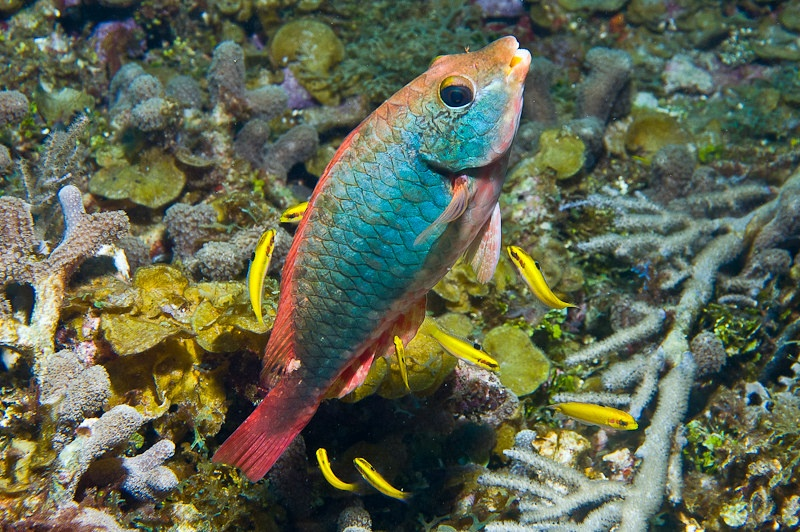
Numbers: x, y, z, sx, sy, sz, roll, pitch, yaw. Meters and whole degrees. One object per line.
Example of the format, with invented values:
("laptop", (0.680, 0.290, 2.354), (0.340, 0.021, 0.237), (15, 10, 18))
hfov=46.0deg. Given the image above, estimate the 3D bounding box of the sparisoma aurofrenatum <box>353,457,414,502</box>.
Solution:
("sparisoma aurofrenatum", (-0.211, 2.261, 9.886), (0.588, 0.176, 0.254), (39, 89, -19))
